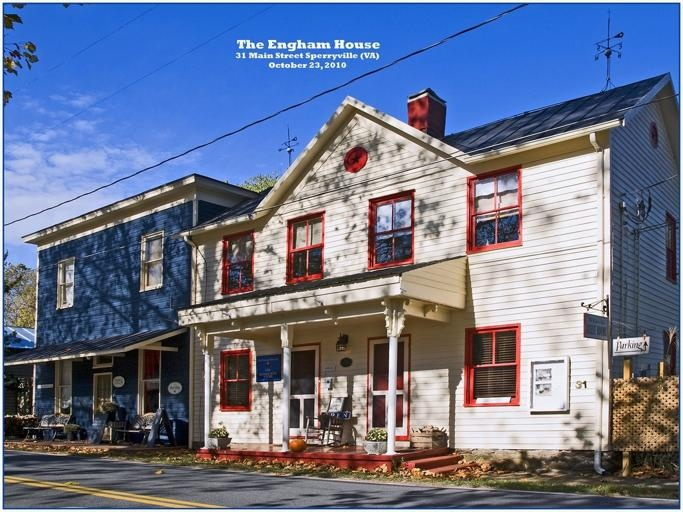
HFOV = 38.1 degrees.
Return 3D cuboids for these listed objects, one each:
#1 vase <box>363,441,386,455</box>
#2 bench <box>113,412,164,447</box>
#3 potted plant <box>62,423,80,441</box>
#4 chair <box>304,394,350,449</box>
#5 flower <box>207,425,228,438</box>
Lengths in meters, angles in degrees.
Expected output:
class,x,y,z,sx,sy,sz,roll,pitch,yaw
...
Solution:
class,x,y,z,sx,sy,sz,roll,pitch,yaw
vase,0.815,4.993,25.687,0.589,0.369,0.381,-1,-16,3
bench,-6.870,5.893,33.416,1.023,1.174,3.475,7,-18,-25
potted plant,-9.597,6.366,35.624,0.531,0.665,0.575,-7,-11,22
chair,-0.522,4.763,28.619,1.260,1.341,1.134,1,1,-30
flower,-3.657,5.238,29.402,0.373,0.270,0.463,-2,-6,-1
